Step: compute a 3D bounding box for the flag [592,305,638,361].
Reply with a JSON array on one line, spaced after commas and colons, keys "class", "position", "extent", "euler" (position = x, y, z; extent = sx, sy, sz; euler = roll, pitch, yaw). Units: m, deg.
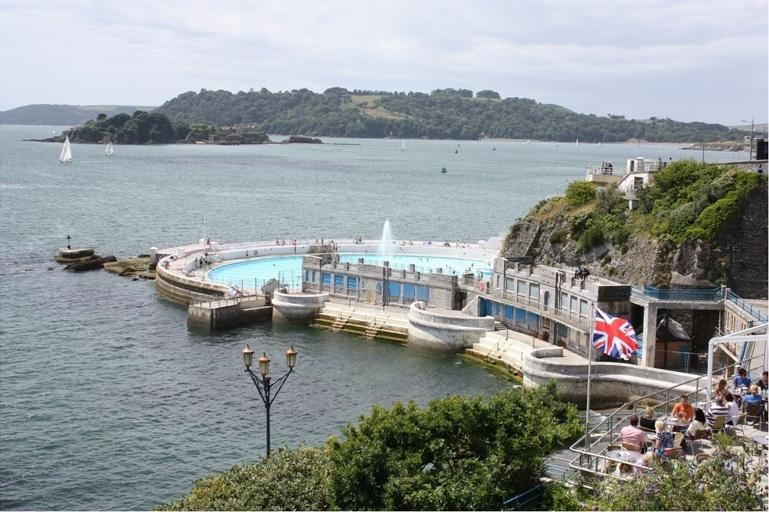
[{"class": "flag", "position": [12.894, 4.643, 43.372], "extent": [2.042, 3.092, 2.559], "euler": [3, 12, 9]}]
